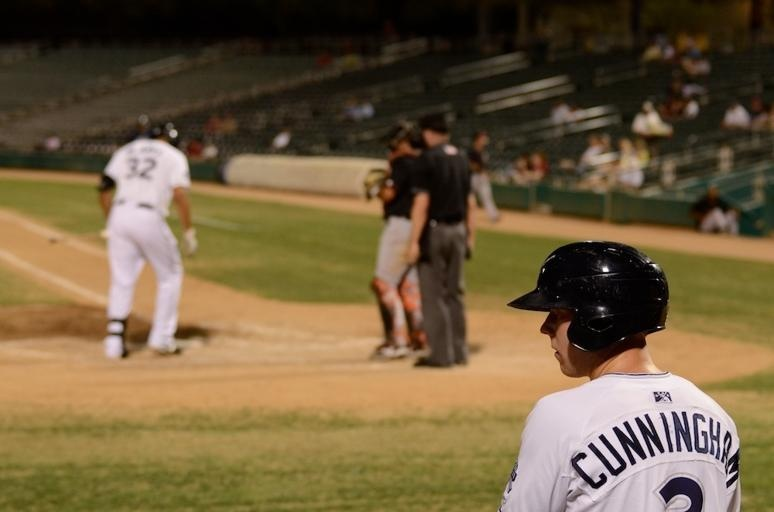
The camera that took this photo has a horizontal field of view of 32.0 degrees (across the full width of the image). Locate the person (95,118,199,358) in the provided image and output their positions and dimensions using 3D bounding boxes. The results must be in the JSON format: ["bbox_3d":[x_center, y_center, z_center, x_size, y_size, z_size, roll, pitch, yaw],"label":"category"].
[{"bbox_3d":[-3.655,-0.256,20.522,1.434,3.505,0.848,3,6,-10],"label":"person"}]

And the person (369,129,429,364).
[{"bbox_3d":[0.219,-0.292,21.464,0.925,3.598,0.889,2,6,-15],"label":"person"}]
